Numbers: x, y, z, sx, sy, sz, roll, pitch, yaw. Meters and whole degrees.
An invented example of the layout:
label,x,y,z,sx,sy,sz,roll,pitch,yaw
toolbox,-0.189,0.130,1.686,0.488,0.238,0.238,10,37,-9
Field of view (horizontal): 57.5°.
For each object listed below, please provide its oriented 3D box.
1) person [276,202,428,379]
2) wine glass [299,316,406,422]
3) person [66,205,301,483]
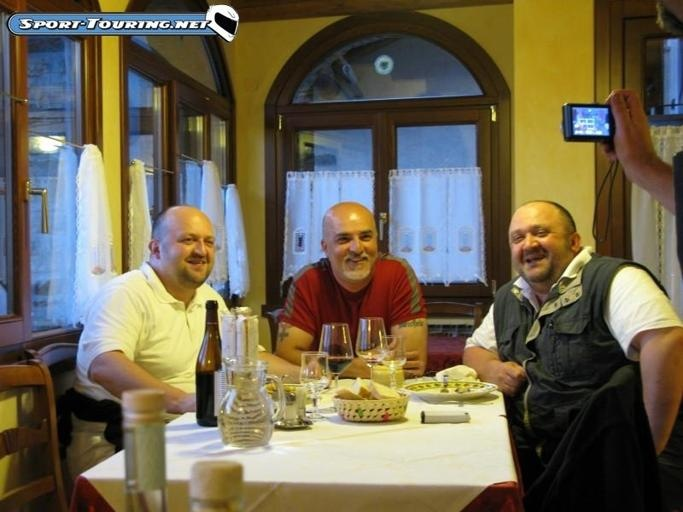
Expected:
label,x,y,z,sx,sy,sz,roll,pitch,yaw
person,0.055,0.205,3.037,0.720,1.271,0.690,-2,-11,4
wine glass,0.078,0.355,1.935,0.255,0.386,0.260,-10,-17,39
person,-0.651,0.442,3.188,0.965,1.688,1.107,-13,-15,34
